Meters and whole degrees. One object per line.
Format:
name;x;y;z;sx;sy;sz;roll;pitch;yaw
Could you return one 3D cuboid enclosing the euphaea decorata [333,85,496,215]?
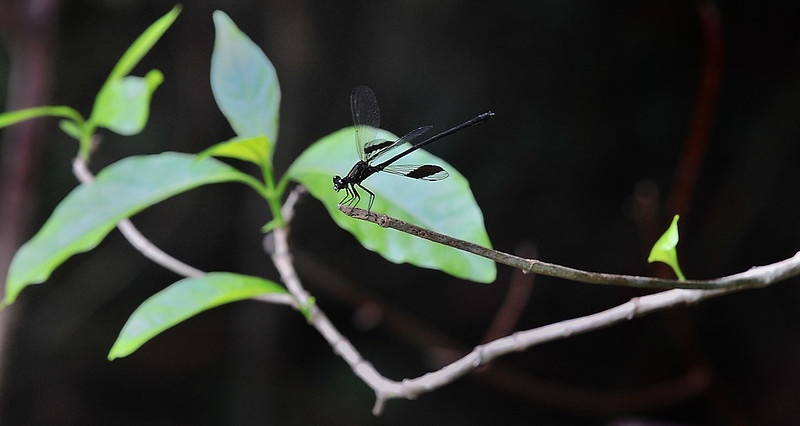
euphaea decorata;0.006;-0.105;1.152;0.254;0.158;0.281;-2;-8;-42
